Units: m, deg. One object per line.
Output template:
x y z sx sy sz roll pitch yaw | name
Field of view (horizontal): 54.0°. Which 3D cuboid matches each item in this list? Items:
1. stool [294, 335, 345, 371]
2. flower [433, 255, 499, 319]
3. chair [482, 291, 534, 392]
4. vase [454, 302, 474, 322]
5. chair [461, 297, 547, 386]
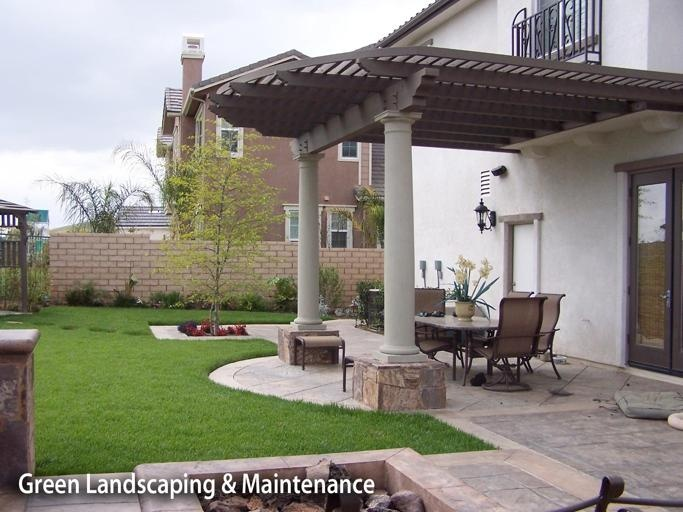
-0.321 1.475 10.445 0.716 0.441 0.531 2 -2 -21 | stool
2.013 0.532 10.401 0.802 0.924 0.922 2 -3 0 | flower
2.341 1.194 9.530 0.770 1.290 1.164 0 0 0 | chair
1.827 0.834 10.061 0.268 0.226 0.266 6 -8 -40 | vase
2.294 1.188 9.479 0.857 1.304 0.942 -2 2 -29 | chair
